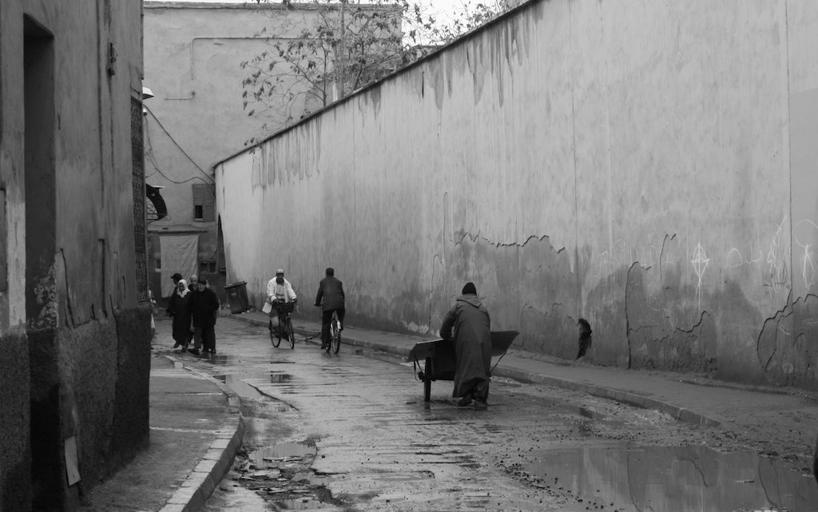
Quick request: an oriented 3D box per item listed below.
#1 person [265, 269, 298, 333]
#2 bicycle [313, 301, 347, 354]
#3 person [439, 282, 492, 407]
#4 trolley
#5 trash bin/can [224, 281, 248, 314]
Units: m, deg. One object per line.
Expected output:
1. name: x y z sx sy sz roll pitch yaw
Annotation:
1. person: -3.656 1.235 27.335 1.045 1.833 1.052 5 8 20
2. bicycle: -2.042 1.933 26.029 0.574 1.154 1.380 -1 3 -6
3. person: 1.071 1.527 17.191 0.821 2.101 0.935 -2 4 -20
4. trolley: 0.494 1.898 17.847 1.317 1.068 1.087 1 0 -10
5. trash bin/can: -7.438 1.545 41.374 0.897 1.497 1.029 -7 24 -12
